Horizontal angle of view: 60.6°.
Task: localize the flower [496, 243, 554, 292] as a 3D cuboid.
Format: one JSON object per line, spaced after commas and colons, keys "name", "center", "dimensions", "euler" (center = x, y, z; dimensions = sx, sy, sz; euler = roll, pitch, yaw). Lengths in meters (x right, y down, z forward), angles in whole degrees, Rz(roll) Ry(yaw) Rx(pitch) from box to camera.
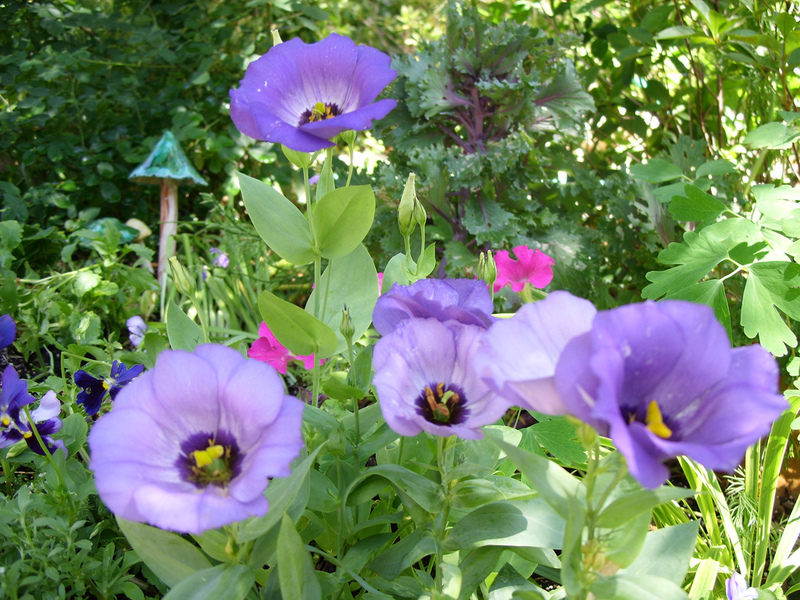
{"name": "flower", "center": [0.354, -0.095, 2.096], "dimensions": [0.192, 0.137, 0.155], "euler": [2, 13, -25]}
